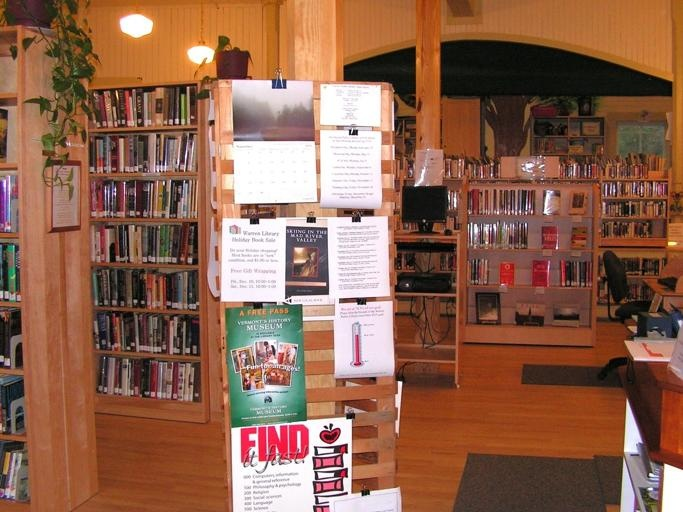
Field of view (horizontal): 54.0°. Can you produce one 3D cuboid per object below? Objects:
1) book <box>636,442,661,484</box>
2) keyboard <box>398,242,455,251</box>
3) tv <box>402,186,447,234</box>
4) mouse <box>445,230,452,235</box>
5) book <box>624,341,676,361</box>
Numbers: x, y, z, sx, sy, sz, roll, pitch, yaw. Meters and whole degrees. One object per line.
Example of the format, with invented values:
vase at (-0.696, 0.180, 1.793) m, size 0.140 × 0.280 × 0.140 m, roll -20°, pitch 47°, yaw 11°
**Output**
book at (1.794, 1.184, 3.977) m, size 0.092 × 0.206 × 0.294 m, roll 1°, pitch 10°, yaw 9°
keyboard at (0.892, -0.077, 7.084) m, size 0.613 × 0.101 × 0.233 m, roll 1°, pitch 10°, yaw 7°
tv at (0.904, -0.522, 7.323) m, size 0.546 × 0.583 × 0.198 m, roll 0°, pitch -1°, yaw 6°
mouse at (1.138, -0.249, 7.168) m, size 0.049 × 0.045 × 0.071 m, roll 4°, pitch 10°, yaw 24°
book at (1.931, 0.596, 4.216) m, size 0.186 × 0.026 × 0.177 m, roll 1°, pitch 15°, yaw 4°
